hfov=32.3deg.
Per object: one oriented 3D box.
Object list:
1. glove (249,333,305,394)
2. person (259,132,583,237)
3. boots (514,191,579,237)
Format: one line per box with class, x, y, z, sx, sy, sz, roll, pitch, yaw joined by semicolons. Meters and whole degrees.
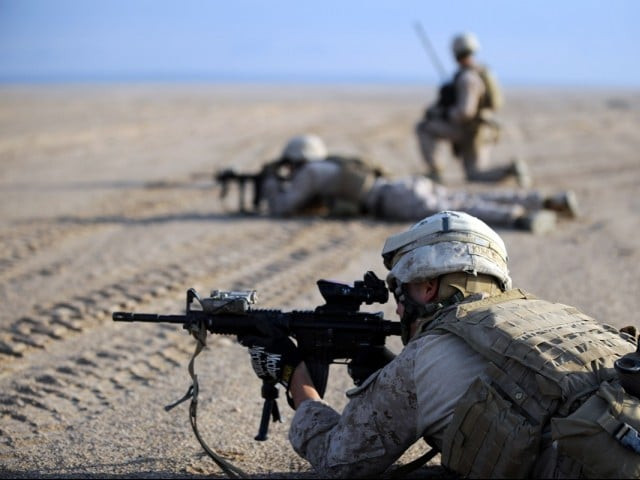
glove;-0.369;0.970;8.948;0.309;0.476;0.163;1;8;11
person;1.025;-0.725;12.988;3.997;1.050;1.542;9;16;31
boots;2.729;-0.332;13.333;0.812;0.377;0.437;-28;9;-42
